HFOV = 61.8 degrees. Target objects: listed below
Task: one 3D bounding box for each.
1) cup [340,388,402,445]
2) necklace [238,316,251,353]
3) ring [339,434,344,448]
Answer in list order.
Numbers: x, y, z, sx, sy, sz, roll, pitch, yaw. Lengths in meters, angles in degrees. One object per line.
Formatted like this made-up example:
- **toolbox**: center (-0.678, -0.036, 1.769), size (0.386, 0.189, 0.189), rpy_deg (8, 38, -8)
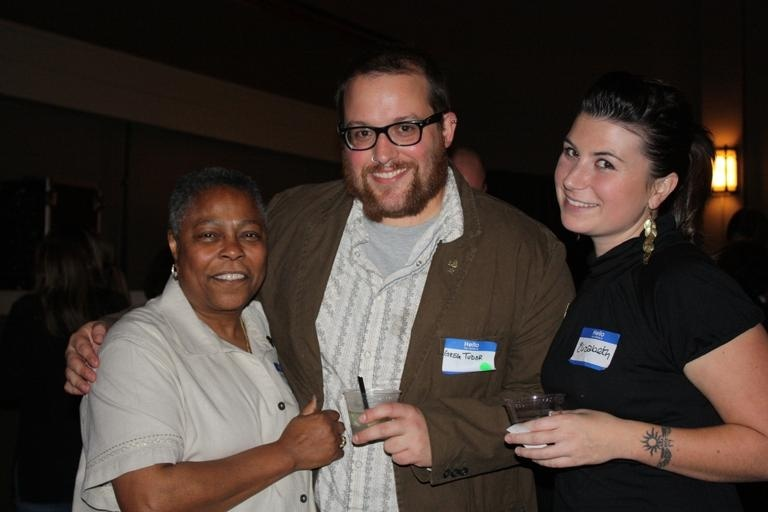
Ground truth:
- **cup**: center (-0.055, 0.764, 3.086), size (0.251, 0.181, 0.248), rpy_deg (-2, -9, 0)
- **necklace**: center (-0.735, 0.415, 3.355), size (0.015, 0.052, 0.200), rpy_deg (12, 24, -29)
- **ring**: center (-0.209, 0.917, 3.185), size (0.024, 0.055, 0.045), rpy_deg (2, -12, -8)
